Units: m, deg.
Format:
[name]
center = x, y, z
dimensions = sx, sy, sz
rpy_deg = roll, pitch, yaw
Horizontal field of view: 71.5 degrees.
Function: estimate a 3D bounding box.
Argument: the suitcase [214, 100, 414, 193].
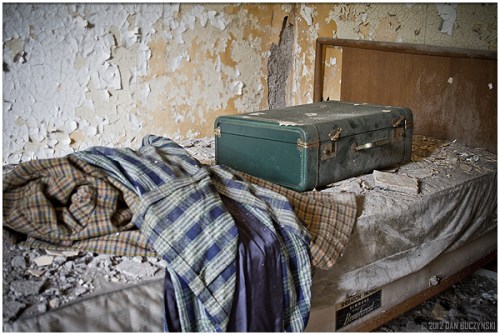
[suitcase]
center = 0.336, -0.141, 1.812
dimensions = 0.956, 0.402, 0.496
rpy_deg = -4, 12, -31
